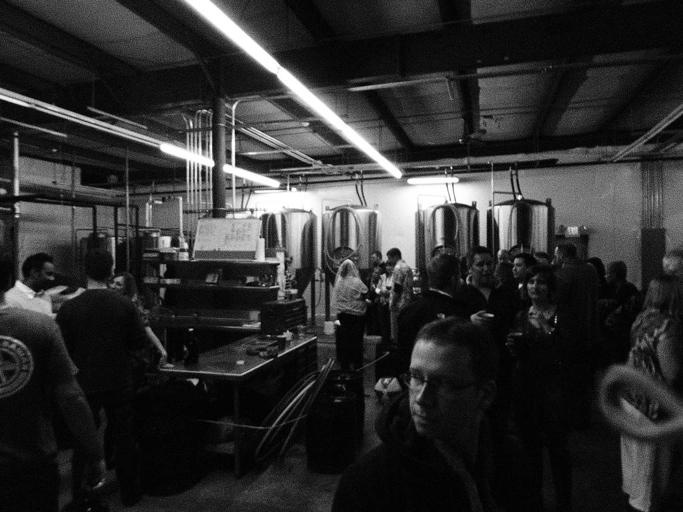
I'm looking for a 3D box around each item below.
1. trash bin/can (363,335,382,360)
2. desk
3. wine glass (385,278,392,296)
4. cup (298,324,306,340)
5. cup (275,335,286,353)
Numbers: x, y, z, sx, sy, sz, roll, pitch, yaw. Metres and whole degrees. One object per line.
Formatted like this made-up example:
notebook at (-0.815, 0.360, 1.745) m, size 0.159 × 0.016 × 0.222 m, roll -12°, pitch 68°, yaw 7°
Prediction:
trash bin/can at (0.454, 1.364, 9.404) m, size 0.245 × 0.315 × 0.457 m, roll 0°, pitch -2°, yaw 9°
desk at (-1.055, 1.500, 6.393) m, size 0.779 × 1.116 × 1.551 m, roll 1°, pitch 1°, yaw 22°
wine glass at (0.666, 0.439, 9.015) m, size 0.051 × 0.194 × 0.135 m, roll 6°, pitch -1°, yaw -5°
cup at (-0.452, 0.883, 7.219) m, size 0.111 × 0.153 × 0.125 m, roll 1°, pitch 0°, yaw -3°
cup at (-0.658, 0.947, 6.723) m, size 0.109 × 0.136 × 0.122 m, roll 0°, pitch 3°, yaw 6°
